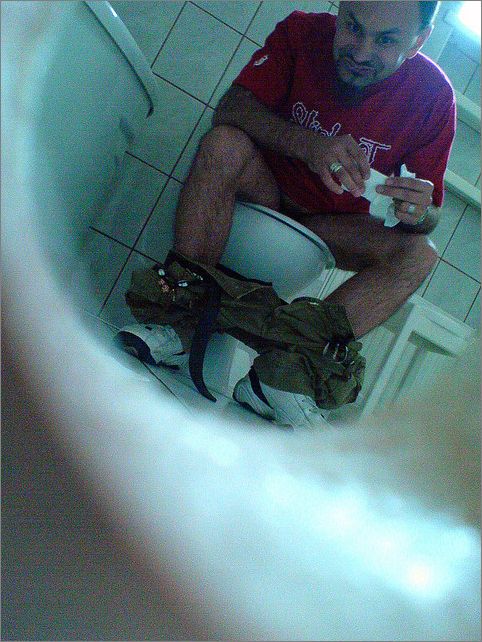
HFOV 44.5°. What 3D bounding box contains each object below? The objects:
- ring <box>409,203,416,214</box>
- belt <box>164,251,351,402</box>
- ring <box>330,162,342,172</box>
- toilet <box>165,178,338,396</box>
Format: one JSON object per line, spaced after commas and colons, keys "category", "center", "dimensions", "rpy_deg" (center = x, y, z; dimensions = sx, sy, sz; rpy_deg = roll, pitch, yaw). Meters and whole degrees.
{"category": "ring", "center": [0.265, -0.177, 0.914], "dimensions": [0.012, 0.018, 0.008], "rpy_deg": [8, 78, 0]}
{"category": "belt", "center": [0.030, 0.002, 0.849], "dimensions": [0.231, 0.142, 0.273], "rpy_deg": [-11, 77, -5]}
{"category": "ring", "center": [0.144, -0.232, 0.882], "dimensions": [0.013, 0.016, 0.009], "rpy_deg": [0, 88, 6]}
{"category": "toilet", "center": [-0.037, -0.059, 1.158], "dimensions": [0.287, 0.354, 0.371], "rpy_deg": [35, 85, 9]}
